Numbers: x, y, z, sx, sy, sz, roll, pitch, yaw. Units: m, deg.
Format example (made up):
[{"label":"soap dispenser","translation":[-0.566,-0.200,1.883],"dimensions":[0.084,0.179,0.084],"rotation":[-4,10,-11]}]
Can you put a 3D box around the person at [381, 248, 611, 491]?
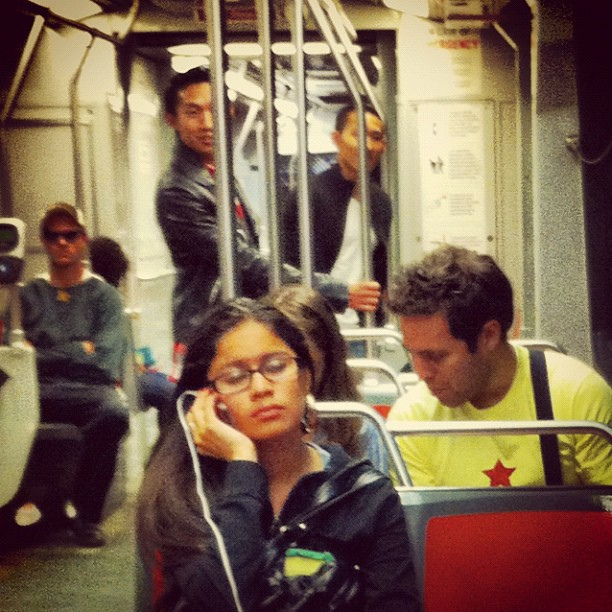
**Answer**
[{"label":"person","translation":[0.511,0.193,2.481],"dimensions":[0.487,0.319,0.772],"rotation":[-9,2,2]}]

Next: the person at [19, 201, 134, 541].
[{"label":"person","translation":[-0.611,0.164,2.374],"dimensions":[0.297,0.880,0.148],"rotation":[6,7,35]}]

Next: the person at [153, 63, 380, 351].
[{"label":"person","translation":[-0.108,-0.367,2.828],"dimensions":[0.781,1.154,0.648],"rotation":[-1,14,2]}]

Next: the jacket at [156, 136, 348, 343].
[{"label":"jacket","translation":[-0.107,-0.207,2.596],"dimensions":[0.599,0.727,0.461],"rotation":[-7,9,-8]}]

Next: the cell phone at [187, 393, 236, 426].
[{"label":"cell phone","translation":[-0.231,0.256,2.267],"dimensions":[0.106,0.035,0.075],"rotation":[32,-24,3]}]

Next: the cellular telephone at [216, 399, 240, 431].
[{"label":"cellular telephone","translation":[-0.200,0.279,2.232],"dimensions":[0.058,0.030,0.076],"rotation":[36,-18,29]}]
